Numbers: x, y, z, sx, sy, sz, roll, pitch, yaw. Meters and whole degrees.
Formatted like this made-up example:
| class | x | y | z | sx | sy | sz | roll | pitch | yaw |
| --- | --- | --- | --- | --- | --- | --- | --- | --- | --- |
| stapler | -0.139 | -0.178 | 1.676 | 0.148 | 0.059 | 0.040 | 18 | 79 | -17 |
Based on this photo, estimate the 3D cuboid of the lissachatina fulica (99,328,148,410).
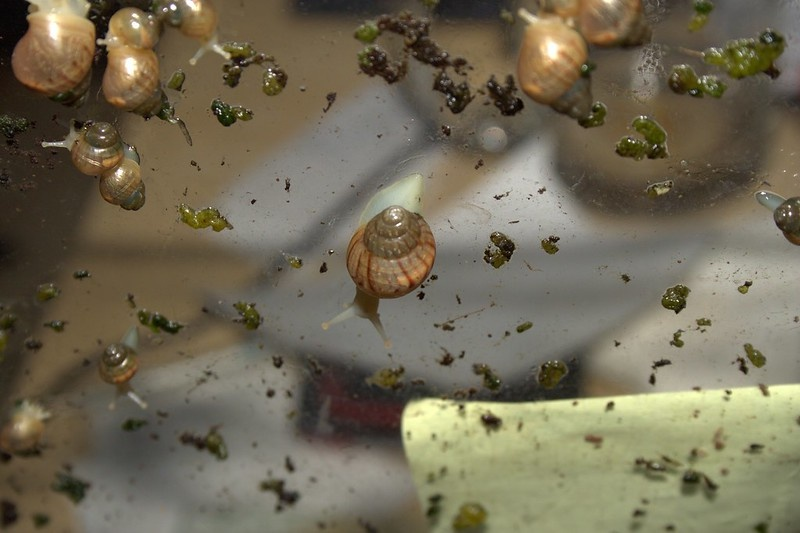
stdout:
| class | x | y | z | sx | sy | sz | roll | pitch | yaw |
| --- | --- | --- | --- | --- | --- | --- | --- | --- | --- |
| lissachatina fulica | -1.862 | 0.673 | 5.598 | 0.224 | 0.213 | 0.489 | -6 | 93 | 6 |

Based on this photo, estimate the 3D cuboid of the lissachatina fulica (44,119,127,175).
| class | x | y | z | sx | sy | sz | roll | pitch | yaw |
| --- | --- | --- | --- | --- | --- | --- | --- | --- | --- |
| lissachatina fulica | -2.062 | -0.786 | 5.460 | 0.514 | 0.229 | 0.338 | 15 | 85 | 3 |
